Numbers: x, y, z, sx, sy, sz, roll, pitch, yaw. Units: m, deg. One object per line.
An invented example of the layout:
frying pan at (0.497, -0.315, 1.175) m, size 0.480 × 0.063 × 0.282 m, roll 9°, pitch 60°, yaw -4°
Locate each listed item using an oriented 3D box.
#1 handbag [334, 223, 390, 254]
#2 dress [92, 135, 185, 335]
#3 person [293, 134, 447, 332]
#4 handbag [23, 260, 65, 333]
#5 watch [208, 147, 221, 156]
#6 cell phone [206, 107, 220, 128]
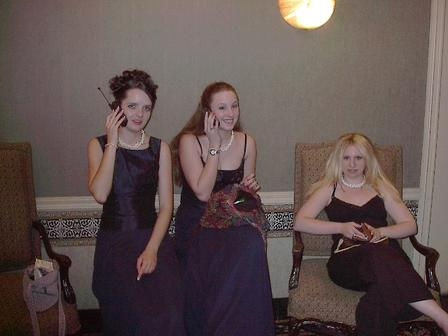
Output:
handbag at (1.037, 0.550, 2.688) m, size 0.287 × 0.246 × 0.108 m, roll 1°, pitch -16°, yaw 31°
dress at (-0.599, 0.447, 2.426) m, size 0.604 × 1.292 × 0.737 m, roll -3°, pitch 8°, yaw -22°
person at (1.108, 0.383, 3.045) m, size 0.879 × 1.143 × 1.754 m, roll -7°, pitch 18°, yaw 0°
handbag at (-1.309, 0.944, 2.560) m, size 0.244 × 0.423 × 0.340 m, roll -4°, pitch 9°, yaw -32°
watch at (-0.076, -0.130, 2.739) m, size 0.075 × 0.029 × 0.054 m, roll -21°, pitch 50°, yaw -31°
cell phone at (-0.091, -0.406, 2.817) m, size 0.092 × 0.141 × 0.049 m, roll 4°, pitch 1°, yaw -1°
